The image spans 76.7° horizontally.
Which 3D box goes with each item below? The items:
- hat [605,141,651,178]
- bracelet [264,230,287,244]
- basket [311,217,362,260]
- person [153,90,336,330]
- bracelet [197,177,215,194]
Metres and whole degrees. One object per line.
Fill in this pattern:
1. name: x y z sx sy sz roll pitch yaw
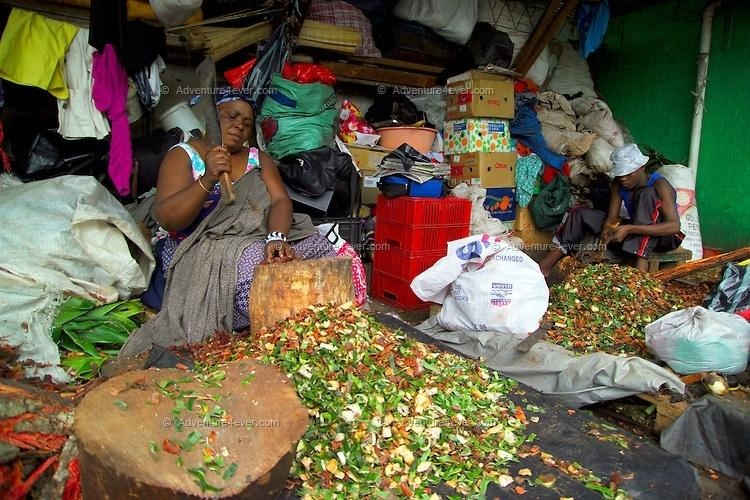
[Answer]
1. hat: 2.573 -0.952 4.902 0.464 0.215 0.407 -22 19 18
2. bracelet: -0.664 -0.085 3.179 0.107 0.039 0.101 1 8 6
3. basket: -0.333 -0.123 4.147 0.342 0.187 0.316 0 -2 -22
4. person: -0.987 -0.299 3.241 1.328 1.574 0.899 0 15 -6
5. bracelet: -1.098 -0.414 3.025 0.091 0.098 0.058 -1 15 -13
